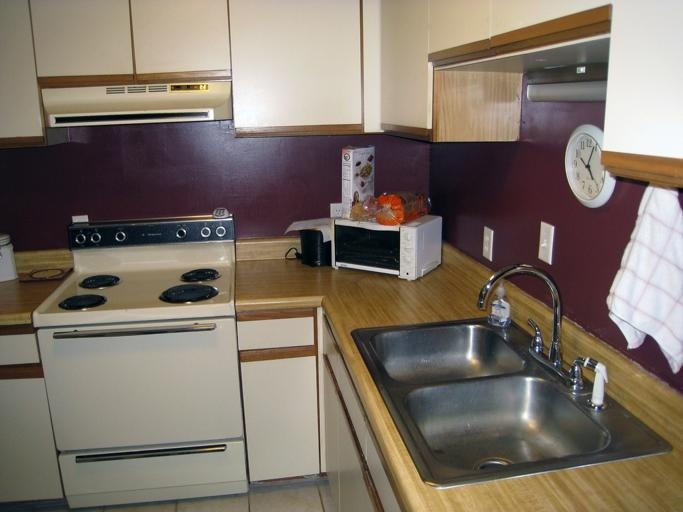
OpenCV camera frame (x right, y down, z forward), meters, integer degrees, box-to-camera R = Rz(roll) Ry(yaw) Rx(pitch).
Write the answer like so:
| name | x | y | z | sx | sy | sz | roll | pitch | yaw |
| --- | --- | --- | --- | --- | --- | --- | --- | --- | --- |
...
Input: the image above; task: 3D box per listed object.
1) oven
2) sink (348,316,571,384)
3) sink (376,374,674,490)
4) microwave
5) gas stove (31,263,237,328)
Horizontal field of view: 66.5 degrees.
| name | x | y | z | sx | sy | sz | roll | pitch | yaw |
| --- | --- | --- | --- | --- | --- | --- | --- | --- | --- |
| oven | -0.897 | 0.709 | 2.825 | 0.966 | 1.168 | 0.848 | -3 | 10 | -11 |
| sink | 0.397 | 0.365 | 1.981 | 0.393 | 0.150 | 0.331 | -3 | 12 | -16 |
| sink | 0.572 | 0.529 | 1.537 | 0.418 | 0.171 | 0.364 | -6 | 17 | -16 |
| microwave | 0.290 | -0.146 | 2.673 | 0.444 | 0.296 | 0.352 | 6 | 12 | 31 |
| gas stove | -0.980 | 0.181 | 2.613 | 0.933 | 0.088 | 0.565 | -4 | 19 | -4 |
